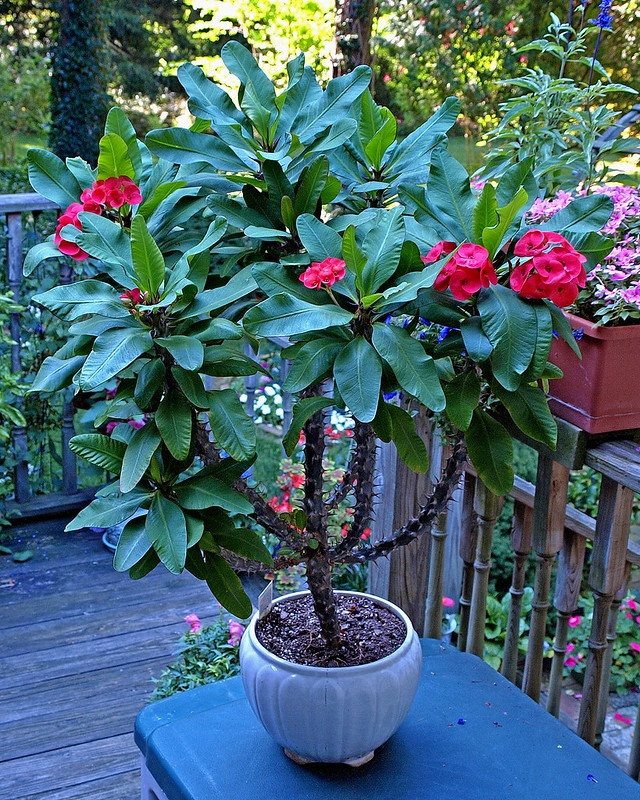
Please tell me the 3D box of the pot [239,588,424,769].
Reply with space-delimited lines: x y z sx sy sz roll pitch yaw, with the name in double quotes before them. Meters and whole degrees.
"pot" 0.029 0.393 1.078 0.242 0.164 0.233 15 -36 11
